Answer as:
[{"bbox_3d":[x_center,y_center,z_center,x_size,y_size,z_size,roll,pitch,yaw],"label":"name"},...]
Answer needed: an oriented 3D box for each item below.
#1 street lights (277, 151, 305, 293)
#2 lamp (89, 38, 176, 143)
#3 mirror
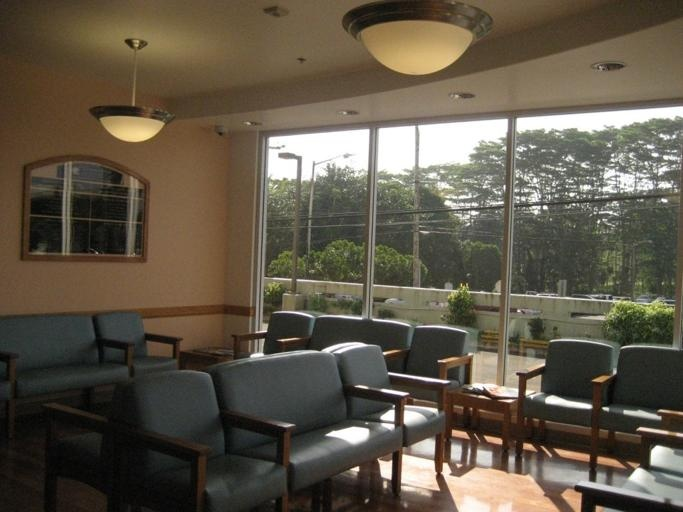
[{"bbox_3d":[-0.673,-0.454,7.837,0.172,1.911,0.405,0,5,-28],"label":"street lights"},{"bbox_3d":[-2.020,-1.620,5.645,0.881,0.938,0.877,6,6,20],"label":"lamp"},{"bbox_3d":[-3.068,-0.564,6.756,0.039,1.099,1.390,2,-1,37],"label":"mirror"}]
